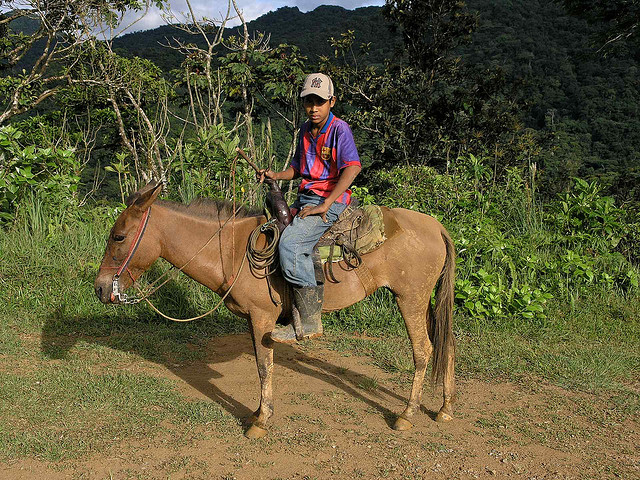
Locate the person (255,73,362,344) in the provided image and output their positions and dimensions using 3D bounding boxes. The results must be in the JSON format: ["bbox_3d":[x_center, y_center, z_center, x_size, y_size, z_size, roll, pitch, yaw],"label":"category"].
[{"bbox_3d":[-0.124,-0.366,7.463,1.107,3.442,0.714,3,8,-12],"label":"person"}]

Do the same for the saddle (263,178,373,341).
[{"bbox_3d":[-0.053,0.260,7.572,1.320,1.978,0.626,2,8,-20],"label":"saddle"}]

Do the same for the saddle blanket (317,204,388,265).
[{"bbox_3d":[0.486,-0.060,7.490,0.620,0.840,0.349,-1,-16,44],"label":"saddle blanket"}]
